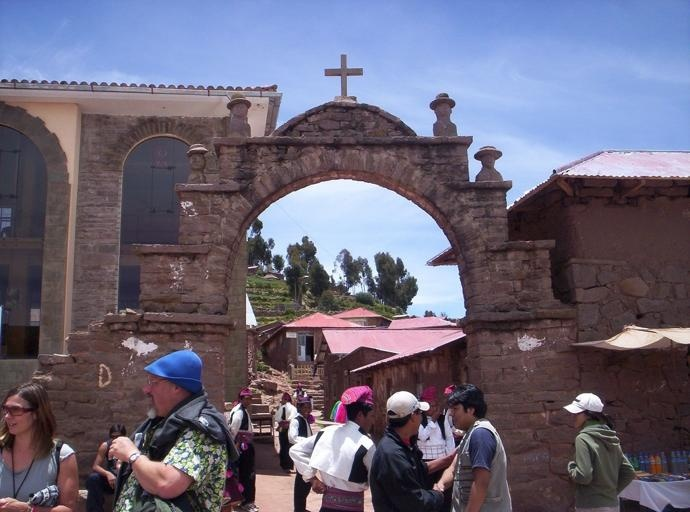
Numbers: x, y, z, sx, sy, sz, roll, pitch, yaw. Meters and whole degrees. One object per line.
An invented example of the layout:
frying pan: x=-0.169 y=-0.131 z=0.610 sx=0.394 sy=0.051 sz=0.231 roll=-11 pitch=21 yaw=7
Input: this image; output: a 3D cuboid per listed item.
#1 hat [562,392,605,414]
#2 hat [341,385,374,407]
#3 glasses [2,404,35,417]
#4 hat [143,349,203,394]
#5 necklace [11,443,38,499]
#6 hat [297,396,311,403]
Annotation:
hat: x=3.000 y=1.859 z=9.619 sx=0.424 sy=0.220 sz=0.316 roll=1 pitch=-11 yaw=9
hat: x=0.139 y=1.655 z=9.078 sx=0.307 sy=0.163 sz=0.230 roll=2 pitch=-2 yaw=-13
glasses: x=-3.593 y=1.671 z=8.349 sx=0.382 sy=0.112 sz=0.117 roll=-3 pitch=-7 yaw=11
hat: x=-1.730 y=1.173 z=7.951 sx=0.549 sy=0.334 sz=0.392 roll=22 pitch=-8 yaw=-1
necklace: x=-3.492 y=2.387 z=8.309 sx=0.228 sy=0.398 sz=0.053 roll=1 pitch=-7 yaw=-17
hat: x=-0.685 y=2.396 z=12.786 sx=0.108 sy=0.093 sz=0.140 roll=-1 pitch=-3 yaw=4
